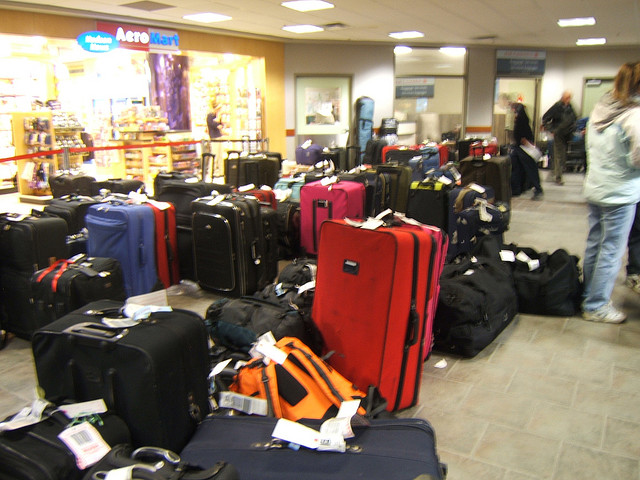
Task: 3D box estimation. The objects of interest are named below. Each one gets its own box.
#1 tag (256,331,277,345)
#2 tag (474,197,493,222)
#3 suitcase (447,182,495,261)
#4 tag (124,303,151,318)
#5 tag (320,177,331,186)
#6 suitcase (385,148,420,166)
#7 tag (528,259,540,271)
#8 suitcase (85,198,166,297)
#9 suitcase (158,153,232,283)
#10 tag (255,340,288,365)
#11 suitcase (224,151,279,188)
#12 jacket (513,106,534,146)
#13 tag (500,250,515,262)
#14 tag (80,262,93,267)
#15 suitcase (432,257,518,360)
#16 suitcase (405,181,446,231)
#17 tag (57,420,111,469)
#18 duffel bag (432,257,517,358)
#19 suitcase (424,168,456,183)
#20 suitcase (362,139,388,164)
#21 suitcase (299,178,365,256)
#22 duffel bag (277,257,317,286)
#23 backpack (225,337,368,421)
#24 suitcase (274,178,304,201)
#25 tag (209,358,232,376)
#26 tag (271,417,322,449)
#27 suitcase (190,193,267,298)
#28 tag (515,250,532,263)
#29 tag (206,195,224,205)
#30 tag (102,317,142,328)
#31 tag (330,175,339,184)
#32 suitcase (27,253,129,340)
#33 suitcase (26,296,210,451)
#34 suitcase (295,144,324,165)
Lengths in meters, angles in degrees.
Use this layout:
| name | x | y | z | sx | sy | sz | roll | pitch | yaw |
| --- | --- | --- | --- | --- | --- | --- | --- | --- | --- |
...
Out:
| name | x | y | z | sx | sy | sz | roll | pitch | yaw |
| --- | --- | --- | --- | --- | --- | --- | --- | --- | --- |
| tag | -0.283 | 0.527 | 2.578 | 0.073 | 0.074 | 0.018 | -22 | -9 | 35 |
| tag | 1.585 | -0.294 | 4.711 | 0.118 | 0.202 | 0.263 | -3 | 14 | -1 |
| suitcase | 1.470 | -0.162 | 4.714 | 0.347 | 0.963 | 0.623 | 7 | 15 | 32 |
| tag | -0.866 | 0.319 | 2.231 | 0.066 | 0.027 | 0.085 | -3 | 16 | 2 |
| tag | 0.061 | -0.591 | 4.898 | 0.092 | 0.073 | 0.092 | -14 | 18 | -37 |
| suitcase | 1.300 | -1.376 | 7.717 | 0.611 | 0.185 | 0.470 | 10 | 18 | 41 |
| tag | 1.726 | 0.202 | 3.902 | 0.123 | 0.085 | 0.049 | -10 | 16 | -28 |
| suitcase | -1.654 | -0.008 | 4.185 | 0.564 | 0.827 | 0.521 | 18 | 20 | 39 |
| suitcase | -1.275 | -0.284 | 4.831 | 0.561 | 1.248 | 0.506 | 12 | 18 | 31 |
| tag | -0.248 | 0.580 | 2.429 | 0.172 | 0.034 | 0.094 | 36 | 57 | 20 |
| suitcase | -1.145 | -0.913 | 6.963 | 0.871 | 0.633 | 0.506 | 3 | 1 | 13 |
| jacket | 3.501 | -1.985 | 8.359 | 0.300 | 0.635 | 0.393 | 3 | 15 | 20 |
| tag | 1.529 | 0.127 | 3.953 | 0.091 | 0.086 | 0.024 | -2 | -13 | 11 |
| tag | -1.653 | 0.170 | 3.436 | 0.047 | 0.012 | 0.029 | 18 | 25 | 28 |
| suitcase | 1.139 | 0.491 | 3.626 | 0.469 | 0.528 | 0.808 | 6 | 16 | 30 |
| suitcase | 1.220 | -0.435 | 5.468 | 0.355 | 0.548 | 0.430 | 10 | 19 | 27 |
| tag | -0.923 | 0.796 | 1.884 | 0.170 | 0.045 | 0.132 | 38 | 24 | 19 |
| duffel bag | 1.152 | 0.464 | 3.544 | 0.558 | 0.621 | 0.762 | 8 | 14 | 27 |
| suitcase | 1.554 | -0.874 | 6.303 | 0.340 | 0.232 | 0.352 | 6 | -4 | 5 |
| suitcase | 1.029 | -1.688 | 9.276 | 0.444 | 0.430 | 0.739 | -1 | 14 | 5 |
| suitcase | -0.054 | -0.179 | 5.171 | 0.565 | 0.698 | 0.421 | 4 | -10 | -21 |
| duffel bag | -0.137 | 0.239 | 3.499 | 0.173 | 0.077 | 0.213 | -3 | 18 | 24 |
| backpack | -0.092 | 0.764 | 2.538 | 0.560 | 0.531 | 0.381 | 16 | 17 | 10 |
| suitcase | -0.364 | -0.612 | 5.864 | 0.361 | 0.332 | 0.251 | 5 | -9 | -13 |
| tag | -0.542 | 0.688 | 2.586 | 0.029 | 0.014 | 0.108 | 25 | 18 | 14 |
| tag | -0.092 | 0.815 | 2.044 | 0.160 | 0.042 | 0.093 | 15 | 42 | 9 |
| suitcase | -0.832 | 0.029 | 4.385 | 0.653 | 0.901 | 0.471 | 6 | 18 | 24 |
| tag | 1.652 | 0.136 | 3.937 | 0.086 | 0.024 | 0.085 | 30 | 43 | 6 |
| tag | -0.892 | -0.344 | 4.146 | 0.085 | 0.020 | 0.085 | 17 | 49 | 42 |
| tag | -0.882 | 0.362 | 2.137 | 0.082 | 0.020 | 0.067 | 9 | 6 | -13 |
| tag | 0.148 | -0.630 | 4.968 | 0.030 | 0.105 | 0.112 | 12 | -14 | -40 |
| suitcase | -1.669 | 0.295 | 3.485 | 0.517 | 0.779 | 0.551 | 6 | 16 | 26 |
| suitcase | -0.882 | 0.620 | 2.214 | 0.663 | 0.545 | 0.544 | 7 | 17 | 33 |
| suitcase | -0.134 | -1.500 | 8.480 | 0.335 | 0.334 | 0.637 | -12 | 17 | -33 |
